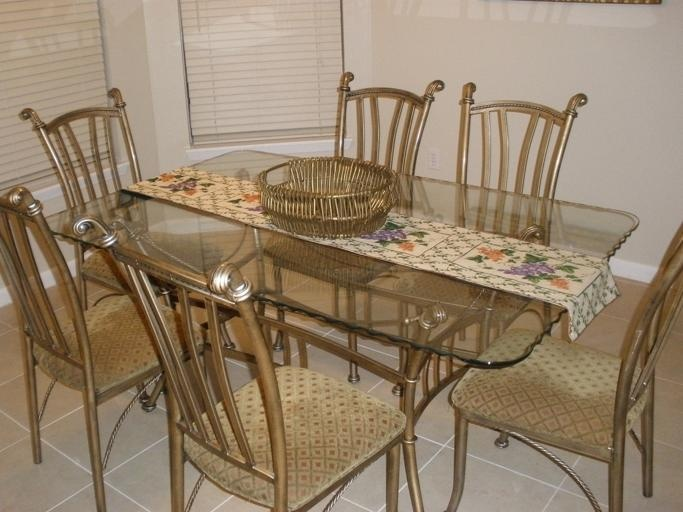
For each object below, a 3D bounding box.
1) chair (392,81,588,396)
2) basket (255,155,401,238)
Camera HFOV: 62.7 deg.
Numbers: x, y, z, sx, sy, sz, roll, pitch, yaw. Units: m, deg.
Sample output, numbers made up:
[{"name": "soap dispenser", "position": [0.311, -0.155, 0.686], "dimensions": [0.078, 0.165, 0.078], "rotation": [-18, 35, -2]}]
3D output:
[{"name": "chair", "position": [0.478, -0.325, 2.450], "dimensions": [0.687, 0.781, 0.607], "rotation": [10, 20, 6]}, {"name": "basket", "position": [-0.047, -0.190, 1.731], "dimensions": [0.406, 0.122, 0.346], "rotation": [9, 24, 18]}]
